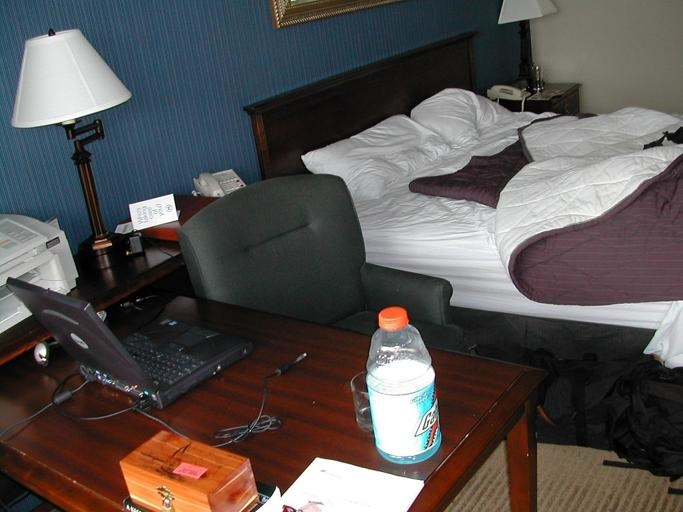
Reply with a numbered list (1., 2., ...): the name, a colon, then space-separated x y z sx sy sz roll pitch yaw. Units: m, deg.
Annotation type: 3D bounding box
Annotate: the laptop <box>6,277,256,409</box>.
1. laptop: -0.550 0.255 1.515 0.465 0.321 0.502 17 28 32
